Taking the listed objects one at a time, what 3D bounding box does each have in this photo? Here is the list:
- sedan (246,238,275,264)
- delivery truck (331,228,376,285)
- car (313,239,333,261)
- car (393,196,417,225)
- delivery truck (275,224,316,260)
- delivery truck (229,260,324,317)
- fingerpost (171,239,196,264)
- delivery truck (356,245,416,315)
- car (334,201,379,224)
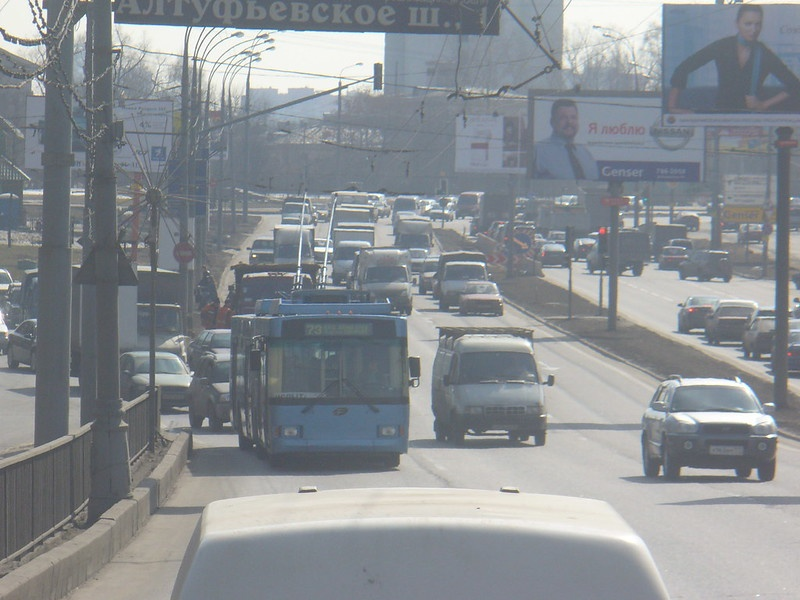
[{"bbox_3d":[-6.500,-2.313,75.145,1.074,1.012,2.331,0,-4,-5],"label":"sedan"},{"bbox_3d":[-2.245,-2.075,74.549,1.618,1.987,3.527,1,4,0],"label":"delivery truck"},{"bbox_3d":[-3.630,-2.433,76.806,1.271,1.149,2.285,0,-3,-5],"label":"car"},{"bbox_3d":[0.050,-6.883,120.507,1.991,2.119,3.476,0,-3,1],"label":"car"},{"bbox_3d":[-4.869,-2.586,72.298,1.643,2.128,3.568,-1,-1,-5],"label":"delivery truck"},{"bbox_3d":[-4.828,-0.543,54.882,1.777,1.601,3.132,0,-2,-24],"label":"delivery truck"},{"bbox_3d":[-6.777,-1.527,50.733,0.659,0.660,0.161,1,10,10],"label":"fingerpost"},{"bbox_3d":[-0.631,-0.925,63.132,1.485,1.897,3.559,0,-2,-3],"label":"delivery truck"},{"bbox_3d":[-2.761,-5.182,94.673,3.038,1.273,3.098,1,7,3],"label":"car"}]
